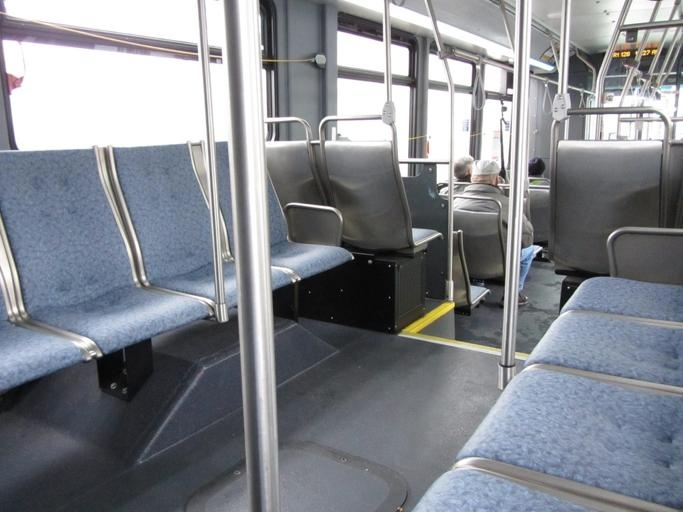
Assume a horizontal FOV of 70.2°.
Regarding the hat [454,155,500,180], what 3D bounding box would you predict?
[{"bbox_3d":[1.425,-0.945,5.215,0.489,0.261,0.379,8,10,12],"label":"hat"}]
